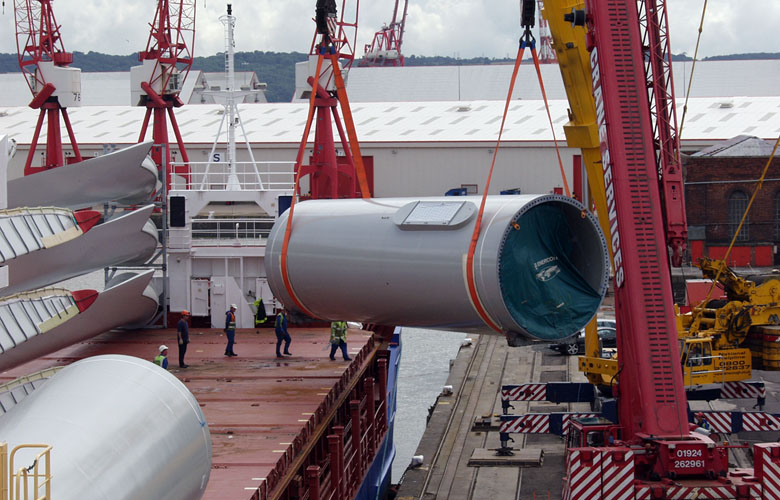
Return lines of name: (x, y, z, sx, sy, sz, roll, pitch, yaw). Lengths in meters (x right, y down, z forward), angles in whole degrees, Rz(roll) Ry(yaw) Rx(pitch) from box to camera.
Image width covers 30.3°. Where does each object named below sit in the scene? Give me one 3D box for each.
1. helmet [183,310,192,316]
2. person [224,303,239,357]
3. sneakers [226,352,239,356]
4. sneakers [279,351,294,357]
helmet: (-6.911, 2.104, 49.024, 0.251, 0.123, 0.181, -9, 7, -35)
person: (-5.432, 2.711, 49.940, 0.403, 1.410, 1.645, 3, 1, -6)
sneakers: (-5.418, 3.539, 49.539, 0.439, 0.198, 0.140, -2, 7, -26)
sneakers: (-3.618, 3.550, 49.449, 0.551, 0.237, 0.172, -7, -3, 19)
